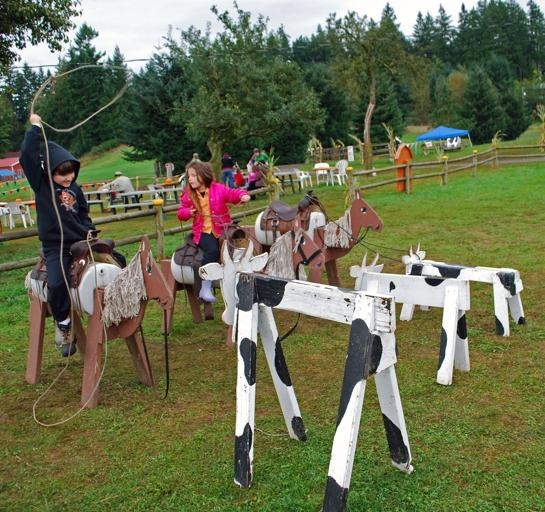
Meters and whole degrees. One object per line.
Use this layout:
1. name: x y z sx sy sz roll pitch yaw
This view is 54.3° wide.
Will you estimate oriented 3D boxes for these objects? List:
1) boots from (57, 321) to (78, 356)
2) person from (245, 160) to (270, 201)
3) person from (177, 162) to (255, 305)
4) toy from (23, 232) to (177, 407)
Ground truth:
1. boots: -1.619 0.615 4.166 0.107 0.164 0.364 0 24 -27
2. person: -0.445 -2.260 15.194 0.654 1.017 1.576 -1 7 4
3. person: -0.594 -0.452 5.202 0.642 0.965 0.578 -5 11 -11
4. toy: -1.347 0.443 4.111 1.418 1.238 0.601 4 12 29
